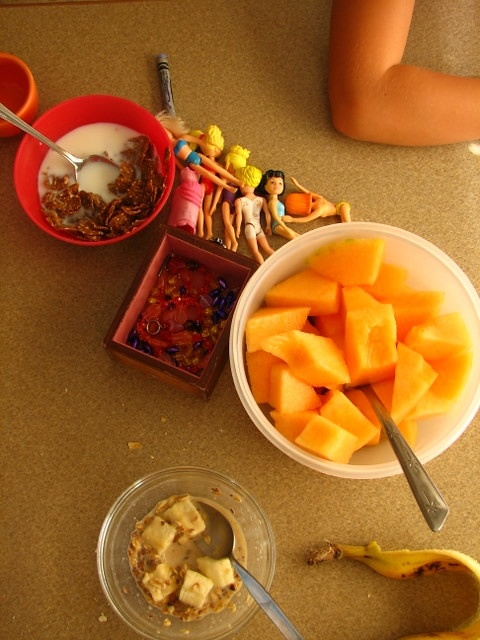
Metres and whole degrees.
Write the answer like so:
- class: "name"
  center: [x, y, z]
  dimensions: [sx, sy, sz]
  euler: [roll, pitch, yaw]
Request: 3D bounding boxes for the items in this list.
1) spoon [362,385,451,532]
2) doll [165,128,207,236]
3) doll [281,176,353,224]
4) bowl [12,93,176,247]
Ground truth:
- class: "spoon"
  center: [0.219, 0.170, 0.912]
  dimensions: [0.053, 0.016, 0.359]
  euler: [-3, 34, -17]
- class: "doll"
  center: [-0.108, -0.273, 1.145]
  dimensions: [0.062, 0.064, 0.205]
  euler: [-3, 84, -3]
- class: "doll"
  center: [0.158, -0.245, 1.192]
  dimensions: [0.155, 0.048, 0.121]
  euler: [3, 52, -6]
- class: "bowl"
  center: [-0.274, -0.283, 1.096]
  dimensions: [0.298, 0.140, 0.288]
  euler: [2, 57, -3]
